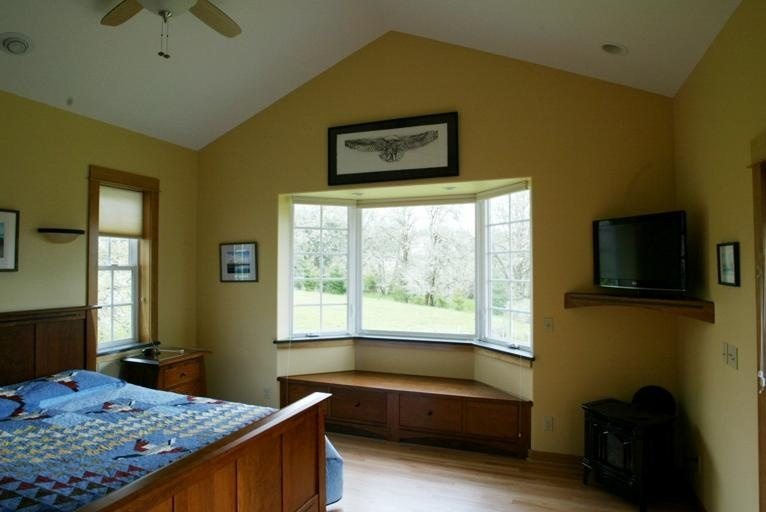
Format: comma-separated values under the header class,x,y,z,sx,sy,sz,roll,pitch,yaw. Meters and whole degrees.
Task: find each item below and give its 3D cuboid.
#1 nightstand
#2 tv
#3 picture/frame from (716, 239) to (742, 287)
class,x,y,z,sx,sy,sz,roll,pitch,yaw
nightstand,-2.238,1.146,5.923,0.496,0.712,0.745,0,-1,20
tv,2.253,-0.016,4.923,0.080,0.737,0.742,0,-5,-40
picture/frame,2.606,0.046,4.291,0.045,0.421,0.359,1,-1,18
